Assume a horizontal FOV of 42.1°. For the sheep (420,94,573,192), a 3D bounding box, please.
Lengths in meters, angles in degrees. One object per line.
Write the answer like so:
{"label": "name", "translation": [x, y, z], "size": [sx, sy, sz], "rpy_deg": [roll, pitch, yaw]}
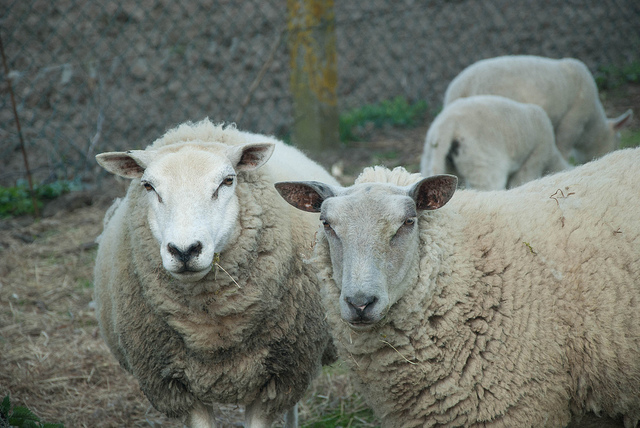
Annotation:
{"label": "sheep", "translation": [2.095, -0.585, 9.630], "size": [2.569, 1.514, 0.798], "rpy_deg": [-3, 5, -41]}
